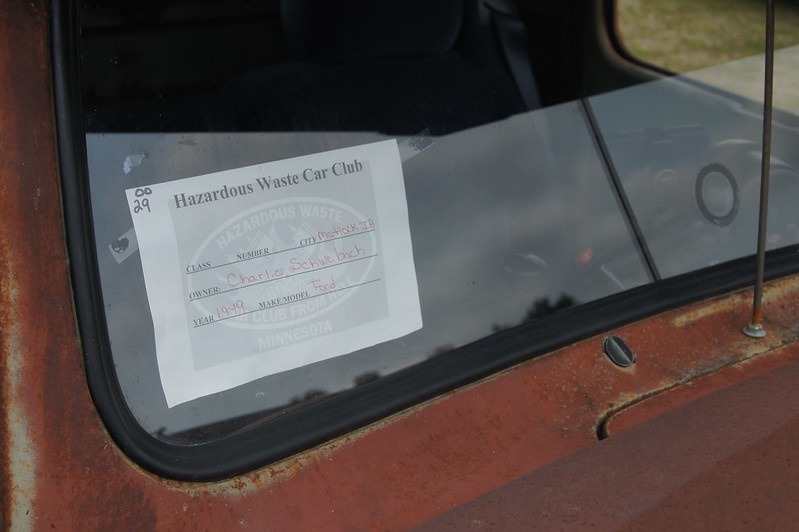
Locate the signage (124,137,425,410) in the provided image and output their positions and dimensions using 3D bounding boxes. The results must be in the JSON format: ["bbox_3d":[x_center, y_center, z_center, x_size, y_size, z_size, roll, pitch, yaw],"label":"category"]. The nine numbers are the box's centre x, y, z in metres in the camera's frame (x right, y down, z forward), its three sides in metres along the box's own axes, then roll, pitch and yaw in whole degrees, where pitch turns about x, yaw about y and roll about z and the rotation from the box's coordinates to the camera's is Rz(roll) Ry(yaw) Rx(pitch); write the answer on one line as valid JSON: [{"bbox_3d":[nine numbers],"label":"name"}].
[{"bbox_3d":[-0.278,0.014,1.521,0.435,0.354,0.005,-17,6,-18],"label":"signage"}]
